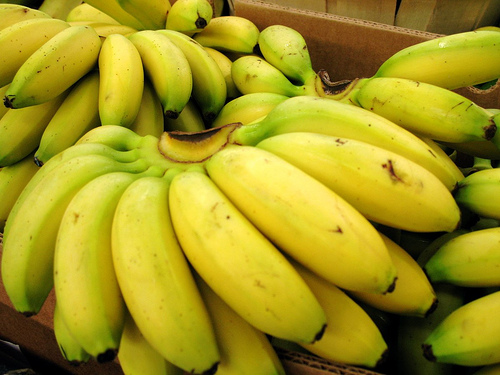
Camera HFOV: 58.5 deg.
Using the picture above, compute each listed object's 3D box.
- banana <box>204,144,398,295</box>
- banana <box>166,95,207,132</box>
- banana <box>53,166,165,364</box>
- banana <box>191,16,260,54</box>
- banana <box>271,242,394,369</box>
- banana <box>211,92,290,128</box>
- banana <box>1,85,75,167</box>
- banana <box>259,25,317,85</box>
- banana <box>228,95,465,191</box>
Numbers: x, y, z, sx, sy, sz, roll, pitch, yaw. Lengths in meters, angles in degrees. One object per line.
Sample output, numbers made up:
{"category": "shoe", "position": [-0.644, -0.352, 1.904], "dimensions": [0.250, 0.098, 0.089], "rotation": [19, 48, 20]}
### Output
{"category": "banana", "position": [0.081, 0.091, 0.889], "dimensions": [0.416, 0.136, 0.142], "rotation": [26, 6, 25]}
{"category": "banana", "position": [-0.165, -0.222, 1.296], "dimensions": [0.051, 0.103, 0.159], "rotation": [2, 34, 11]}
{"category": "banana", "position": [-0.301, 0.121, 0.930], "dimensions": [0.212, 0.119, 0.462], "rotation": [8, 48, -11]}
{"category": "banana", "position": [-0.074, -0.509, 1.566], "dimensions": [0.114, 0.128, 0.373], "rotation": [-22, 33, -26]}
{"category": "banana", "position": [0.132, 0.269, 0.918], "dimensions": [0.357, 0.117, 0.115], "rotation": [42, 77, 5]}
{"category": "banana", "position": [0.014, -0.236, 1.279], "dimensions": [0.227, 0.091, 0.119], "rotation": [-7, 21, 0]}
{"category": "banana", "position": [-0.533, -0.161, 1.132], "dimensions": [0.058, 0.071, 0.217], "rotation": [34, 85, 40]}
{"category": "banana", "position": [0.092, -0.469, 1.480], "dimensions": [0.146, 0.109, 0.308], "rotation": [-23, 35, -25]}
{"category": "banana", "position": [0.203, -0.086, 0.898], "dimensions": [0.389, 0.107, 0.087], "rotation": [14, 51, 18]}
